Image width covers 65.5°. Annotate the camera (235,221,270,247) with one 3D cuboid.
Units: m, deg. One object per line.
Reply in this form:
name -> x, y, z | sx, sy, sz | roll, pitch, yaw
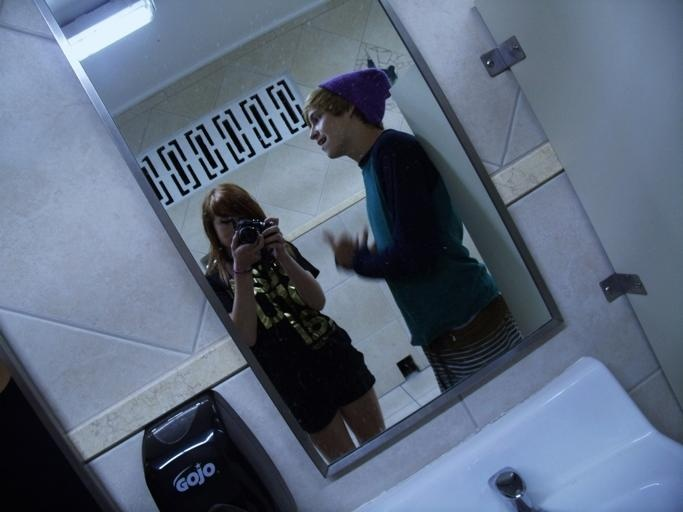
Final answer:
camera -> -0.201, -0.053, 1.165 | 0.073, 0.061, 0.045 | -1, 3, -3
